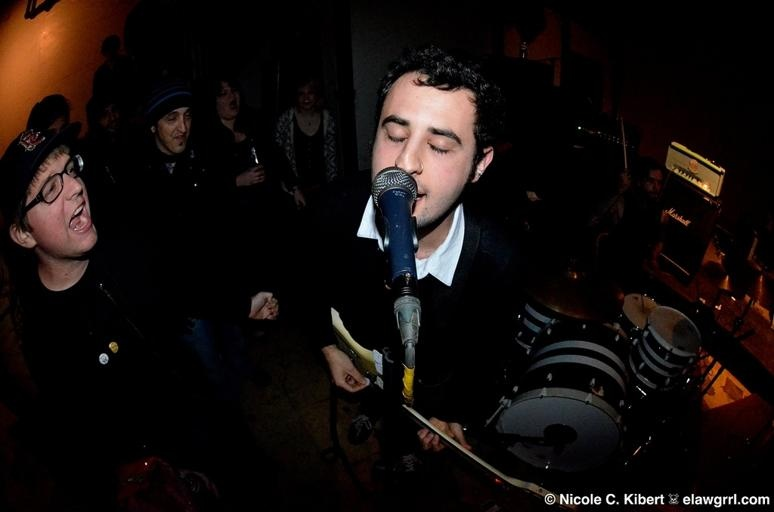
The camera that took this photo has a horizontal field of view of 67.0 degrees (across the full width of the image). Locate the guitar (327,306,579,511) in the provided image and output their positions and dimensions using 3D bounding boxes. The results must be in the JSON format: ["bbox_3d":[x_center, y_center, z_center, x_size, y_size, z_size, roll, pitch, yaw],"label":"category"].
[{"bbox_3d":[0.610,1.284,4.890,2.886,0.246,0.420,32,52,-6],"label":"guitar"}]

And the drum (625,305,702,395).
[{"bbox_3d":[2.462,0.824,5.194,0.484,0.596,0.553,20,19,25],"label":"drum"}]

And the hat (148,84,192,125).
[{"bbox_3d":[-2.016,-1.417,5.325,0.424,0.151,0.321,-26,0,27],"label":"hat"}]
